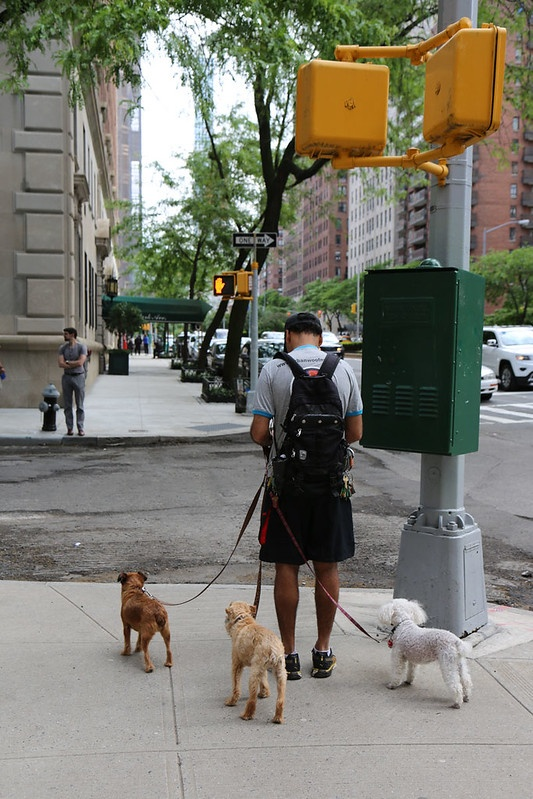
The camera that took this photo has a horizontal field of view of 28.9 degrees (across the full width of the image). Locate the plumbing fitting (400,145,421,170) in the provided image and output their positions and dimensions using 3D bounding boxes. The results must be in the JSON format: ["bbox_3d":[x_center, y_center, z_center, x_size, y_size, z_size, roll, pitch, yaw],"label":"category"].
[{"bbox_3d":[0.772,-1.296,5.610,0.119,0.135,0.126,3,5,36],"label":"plumbing fitting"}]

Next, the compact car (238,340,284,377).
[{"bbox_3d":[-0.129,-1.185,28.973,1.042,1.014,1.973,-1,-1,-13],"label":"compact car"}]

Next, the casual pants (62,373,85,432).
[{"bbox_3d":[-2.779,0.020,14.869,0.318,0.856,0.226,0,5,-4],"label":"casual pants"}]

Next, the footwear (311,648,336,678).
[{"bbox_3d":[0.261,1.271,4.978,0.063,0.081,0.170,0,3,9],"label":"footwear"}]

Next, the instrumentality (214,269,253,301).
[{"bbox_3d":[-0.578,-1.967,17.910,0.717,0.756,0.428,1,6,6],"label":"instrumentality"}]

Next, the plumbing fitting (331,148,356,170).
[{"bbox_3d":[0.408,-1.273,5.574,0.130,0.125,0.078,1,1,8],"label":"plumbing fitting"}]

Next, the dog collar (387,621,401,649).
[{"bbox_3d":[0.586,1.101,4.848,0.042,0.124,0.087,-2,-3,-1],"label":"dog collar"}]

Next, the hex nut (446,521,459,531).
[{"bbox_3d":[0.991,0.677,5.533,0.044,0.035,0.046,-1,-1,0],"label":"hex nut"}]

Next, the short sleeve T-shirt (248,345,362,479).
[{"bbox_3d":[0.123,0.047,5.109,0.682,0.854,0.437,1,8,2],"label":"short sleeve T-shirt"}]

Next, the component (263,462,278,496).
[{"bbox_3d":[0.030,0.375,4.938,0.035,0.148,0.085,4,2,-21],"label":"component"}]

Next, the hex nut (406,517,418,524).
[{"bbox_3d":[0.796,0.675,5.714,0.041,0.043,0.042,5,7,29],"label":"hex nut"}]
